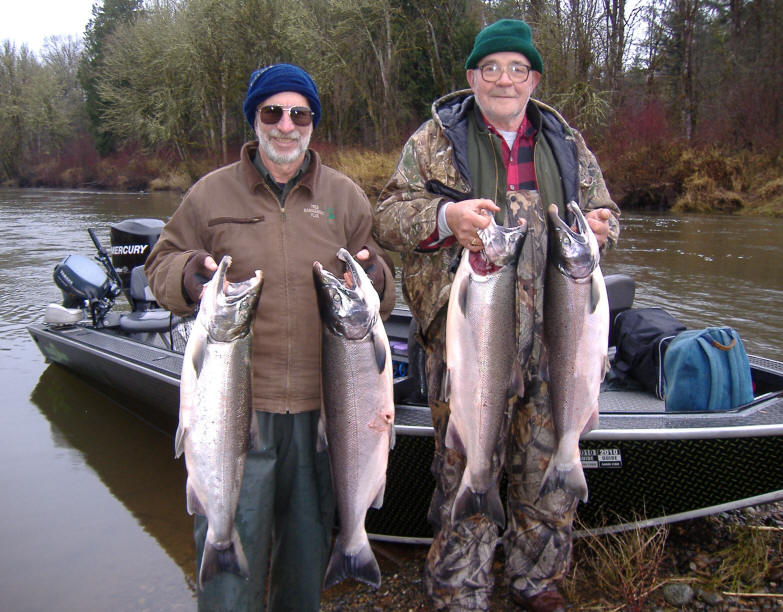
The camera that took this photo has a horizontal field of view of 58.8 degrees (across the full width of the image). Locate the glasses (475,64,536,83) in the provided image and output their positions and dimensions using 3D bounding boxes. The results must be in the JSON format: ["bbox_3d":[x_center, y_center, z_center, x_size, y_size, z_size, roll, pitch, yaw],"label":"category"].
[{"bbox_3d":[0.504,-1.034,3.095,0.218,0.095,0.046,-3,8,4],"label":"glasses"}]

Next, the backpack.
[{"bbox_3d":[1.769,0.323,4.253,0.402,0.392,0.909,-4,5,-7],"label":"backpack"}]

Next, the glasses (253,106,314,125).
[{"bbox_3d":[-0.458,-0.811,2.967,0.216,0.096,0.065,-5,9,-12],"label":"glasses"}]

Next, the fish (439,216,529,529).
[{"bbox_3d":[0.410,0.295,3.021,0.372,1.325,0.143,-2,8,3],"label":"fish"}]

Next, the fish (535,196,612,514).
[{"bbox_3d":[0.796,0.214,3.049,0.294,1.314,0.149,-1,8,13],"label":"fish"}]

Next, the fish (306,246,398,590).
[{"bbox_3d":[-0.156,0.480,2.985,0.322,1.455,0.178,-3,8,-1],"label":"fish"}]

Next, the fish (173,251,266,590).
[{"bbox_3d":[-0.686,0.463,2.818,0.397,1.318,0.269,-5,8,-18],"label":"fish"}]

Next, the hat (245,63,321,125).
[{"bbox_3d":[-0.476,-0.877,2.999,0.231,0.316,0.151,2,-6,9],"label":"hat"}]

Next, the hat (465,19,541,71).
[{"bbox_3d":[0.501,-1.196,3.177,0.322,0.272,0.259,-5,9,-11],"label":"hat"}]
